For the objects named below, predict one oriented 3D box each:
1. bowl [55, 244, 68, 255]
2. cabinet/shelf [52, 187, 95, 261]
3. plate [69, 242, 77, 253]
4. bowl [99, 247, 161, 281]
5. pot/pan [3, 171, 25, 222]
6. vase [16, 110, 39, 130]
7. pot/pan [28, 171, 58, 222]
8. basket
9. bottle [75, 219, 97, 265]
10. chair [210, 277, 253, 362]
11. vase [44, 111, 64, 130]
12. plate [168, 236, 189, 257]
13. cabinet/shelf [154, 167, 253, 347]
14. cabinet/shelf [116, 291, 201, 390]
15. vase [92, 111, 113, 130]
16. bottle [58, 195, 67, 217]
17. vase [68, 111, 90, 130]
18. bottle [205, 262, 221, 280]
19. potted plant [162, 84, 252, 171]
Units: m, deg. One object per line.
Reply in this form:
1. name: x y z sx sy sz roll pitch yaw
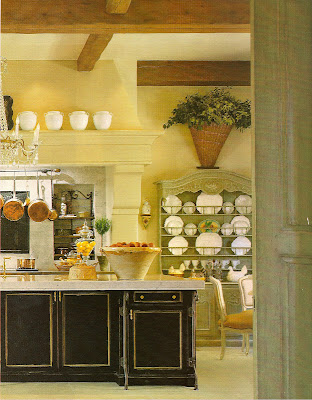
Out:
1. bowl: -0.865 0.464 6.641 0.113 0.068 0.097 0 2 -12
2. cabinet/shelf: -0.774 0.244 6.723 0.385 0.705 0.129 -1 18 -8
3. plate: -0.754 0.437 6.610 0.100 0.081 0.092 2 -6 0
4. bowl: -0.170 0.418 4.740 0.402 0.173 0.364 2 -3 -23
5. pot/pan: -1.214 -0.004 6.089 0.208 0.362 0.057 -2 7 -21
6. vase: -1.037 -0.622 5.892 0.215 0.169 0.171 0 2 -8
7. pot/pan: -1.037 -0.018 6.200 0.279 0.424 0.073 -5 2 -22
8. basket: 0.443 -0.463 6.405 0.445 0.337 0.401 -3 -13 20
9. bottle: -0.482 0.311 4.958 0.198 0.304 0.183 0 5 0
10. chair: 0.587 0.919 5.566 0.411 0.526 0.352 4 -5 13
11. vase: -0.832 -0.647 6.007 0.192 0.149 0.152 -4 13 -24
12. plate: 0.191 0.418 6.387 0.189 0.165 0.036 13 -4 -17
13. cabinet/shelf: 0.532 0.520 6.359 1.040 1.512 0.248 -4 -1 16
14. cabinet/shelf: 0.000 0.927 4.881 0.612 0.704 0.629 0 -9 -3
15. vase: -0.437 -0.645 5.942 0.189 0.145 0.149 1 16 0
16. bottle: -0.859 0.069 6.717 0.064 0.200 0.170 -1 -4 -6
17. vase: -0.633 -0.647 5.953 0.191 0.146 0.152 0 0 -1
18. bottle: 0.478 0.631 6.436 0.213 0.183 0.147 1 -6 -7
19. potted plant: 0.489 -0.615 6.397 0.766 0.624 0.645 1 -7 12
